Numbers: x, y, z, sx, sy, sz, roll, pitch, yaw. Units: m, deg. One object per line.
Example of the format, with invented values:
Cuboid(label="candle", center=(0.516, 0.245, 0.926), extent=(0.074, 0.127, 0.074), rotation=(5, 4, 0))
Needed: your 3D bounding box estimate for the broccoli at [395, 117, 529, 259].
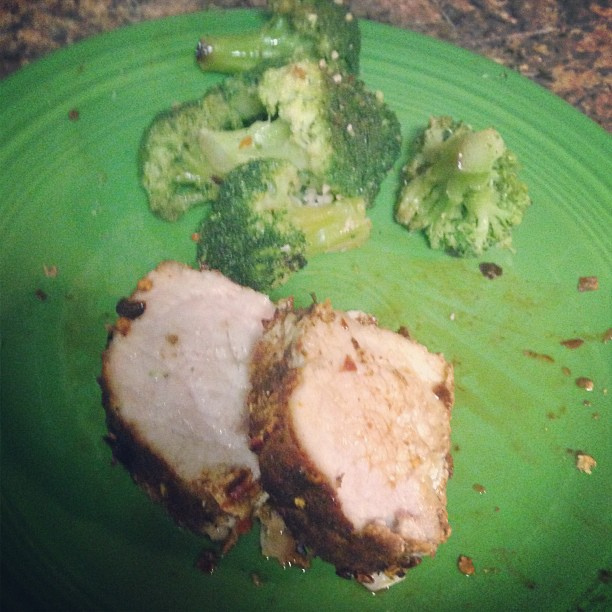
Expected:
Cuboid(label="broccoli", center=(0.986, -0.722, 5.632), extent=(0.794, 0.259, 0.844), rotation=(19, 91, -3))
